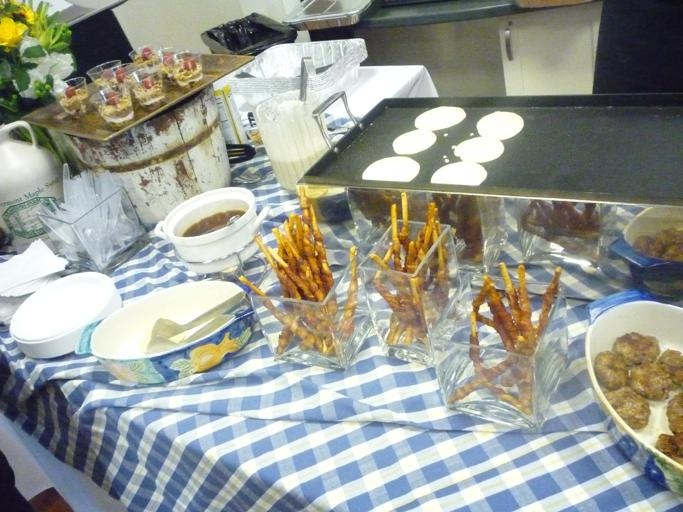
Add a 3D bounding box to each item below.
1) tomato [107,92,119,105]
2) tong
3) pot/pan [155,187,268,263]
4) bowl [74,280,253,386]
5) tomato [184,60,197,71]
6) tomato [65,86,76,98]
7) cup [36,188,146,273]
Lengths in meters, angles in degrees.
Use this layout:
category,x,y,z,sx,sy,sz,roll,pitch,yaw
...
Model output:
category,x,y,z,sx,sy,sz,roll,pitch,yaw
tomato,-0.531,-0.368,1.181,0.029,0.026,0.019,-20,34,-16
tong,-0.257,0.144,0.945,0.142,0.060,0.108,-19,18,5
pot/pan,-0.308,-0.055,1.179,0.246,0.198,0.085,-13,70,22
bowl,-0.315,0.162,0.975,0.301,0.078,0.178,-11,37,16
tomato,-0.379,-0.483,1.282,0.024,0.018,0.021,-27,46,-31
tomato,-0.658,-0.401,1.239,0.023,0.024,0.022,2,39,-9
cup,-0.607,-0.059,1.316,0.211,0.206,0.197,-16,41,14
